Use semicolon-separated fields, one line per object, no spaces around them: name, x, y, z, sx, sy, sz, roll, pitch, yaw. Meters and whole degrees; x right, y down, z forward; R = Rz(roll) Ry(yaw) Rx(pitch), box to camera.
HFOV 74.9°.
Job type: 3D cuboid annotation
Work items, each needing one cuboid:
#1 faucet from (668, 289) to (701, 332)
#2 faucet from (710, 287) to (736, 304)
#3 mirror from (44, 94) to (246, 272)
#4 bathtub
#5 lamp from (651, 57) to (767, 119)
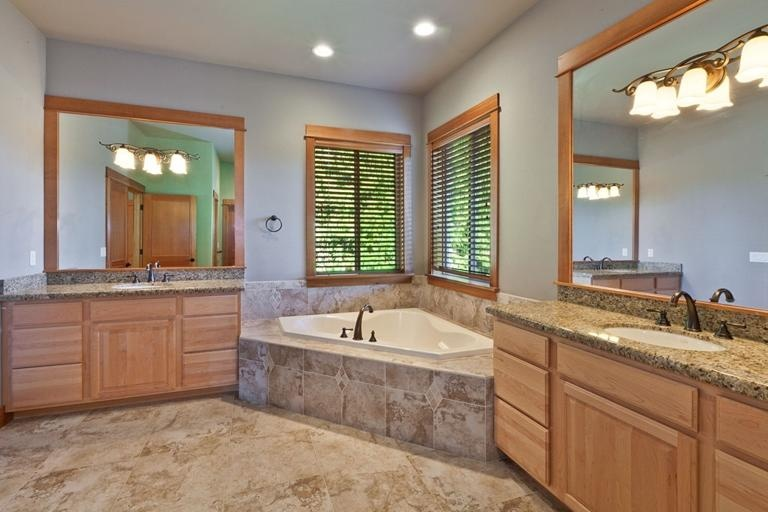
faucet;1.992;0.352;3.293;0.132;0.258;0.177;-2;0;-41
faucet;2.168;0.247;3.198;0.191;0.119;0.076;-1;0;26
mirror;-2.405;-0.718;4.863;1.871;1.788;0.044;1;-3;-24
bathtub;0.067;0.756;4.958;2.096;0.304;1.334;-1;0;24
lamp;2.080;-1.071;3.273;0.211;0.246;0.616;-20;6;-29
